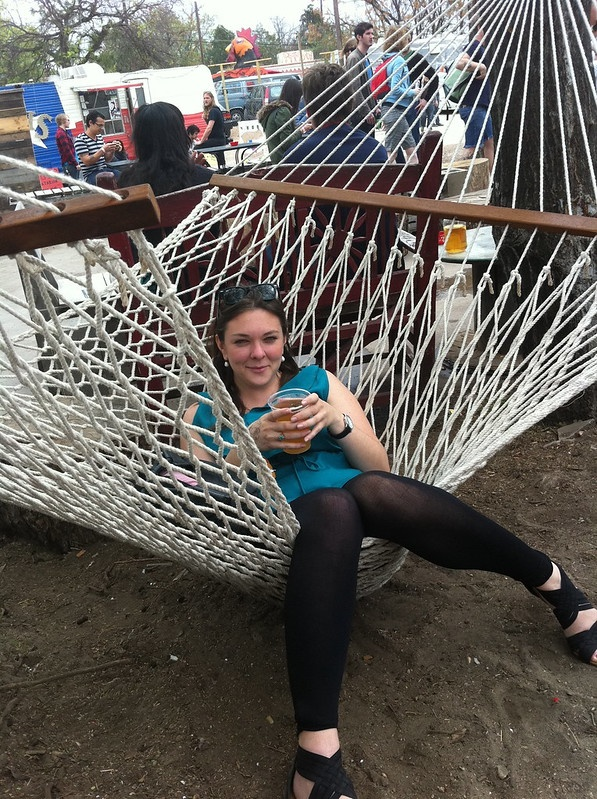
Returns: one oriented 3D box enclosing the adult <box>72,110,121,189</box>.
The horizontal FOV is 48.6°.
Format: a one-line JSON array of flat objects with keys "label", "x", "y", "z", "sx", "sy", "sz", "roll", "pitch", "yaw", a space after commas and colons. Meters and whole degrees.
[{"label": "adult", "x": -1.839, "y": -2.279, "z": 6.227, "sx": 0.455, "sy": 0.763, "sz": 0.358, "roll": 17, "pitch": 32, "yaw": 23}]
